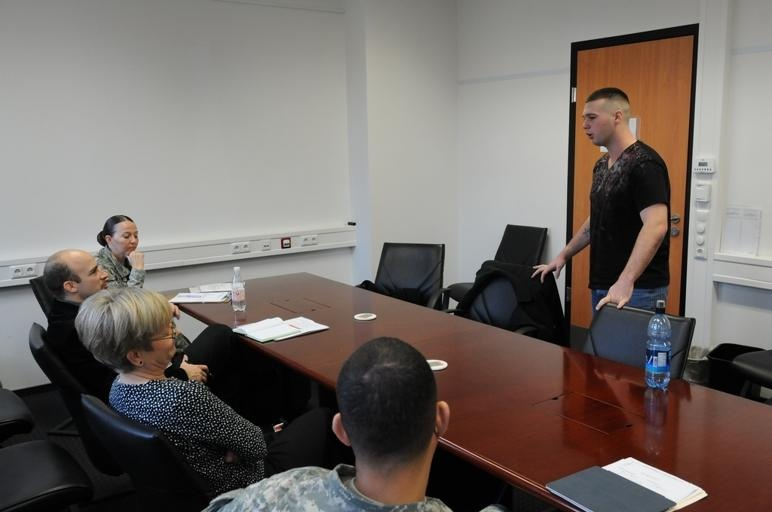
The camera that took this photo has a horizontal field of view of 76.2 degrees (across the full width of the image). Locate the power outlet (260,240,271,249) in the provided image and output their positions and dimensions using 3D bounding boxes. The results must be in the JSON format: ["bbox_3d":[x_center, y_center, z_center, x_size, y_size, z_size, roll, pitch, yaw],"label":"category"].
[{"bbox_3d":[-1.220,-0.121,4.997,0.073,0.100,0.099,1,2,43],"label":"power outlet"}]

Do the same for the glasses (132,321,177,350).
[{"bbox_3d":[-0.985,0.345,2.090,0.121,0.040,0.121,-16,9,-9],"label":"glasses"}]

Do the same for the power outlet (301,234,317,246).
[{"bbox_3d":[-0.803,-0.172,5.207,0.174,0.112,0.020,-10,15,-32],"label":"power outlet"}]
